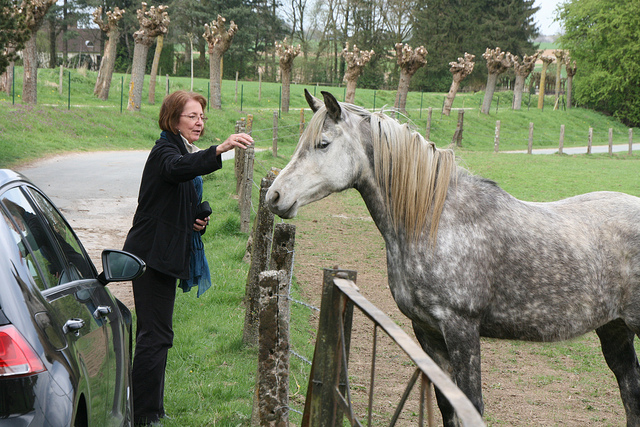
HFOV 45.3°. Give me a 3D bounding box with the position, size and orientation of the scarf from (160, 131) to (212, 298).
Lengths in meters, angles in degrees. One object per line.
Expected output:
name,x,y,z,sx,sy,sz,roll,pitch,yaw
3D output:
scarf,-2.269,-0.024,13.032,0.722,2.834,0.824,0,-1,-10

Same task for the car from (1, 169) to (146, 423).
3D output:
car,-3.787,1.358,11.261,1.490,3.549,2.005,8,7,36
